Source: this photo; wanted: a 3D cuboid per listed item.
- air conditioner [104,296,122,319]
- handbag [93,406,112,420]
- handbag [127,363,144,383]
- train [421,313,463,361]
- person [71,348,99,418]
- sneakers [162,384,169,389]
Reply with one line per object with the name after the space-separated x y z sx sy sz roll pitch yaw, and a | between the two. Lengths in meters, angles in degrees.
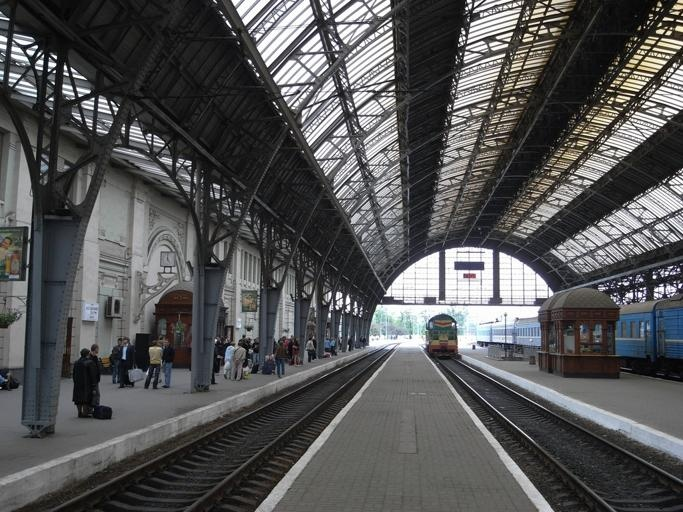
-11.932 2.672 25.646 0.399 0.981 1.077 -2 -10 10 | air conditioner
-6.188 4.055 12.753 0.321 0.321 0.428 7 -15 -27 | handbag
-8.014 4.659 19.104 0.515 0.591 0.742 4 -12 -17 | handbag
10.565 8.346 52.357 3.217 4.511 2.401 -7 -13 34 | train
-6.675 3.330 12.867 0.619 1.735 0.490 6 -11 -27 | person
-7.031 5.201 19.582 0.353 0.143 0.123 2 -17 3 | sneakers
